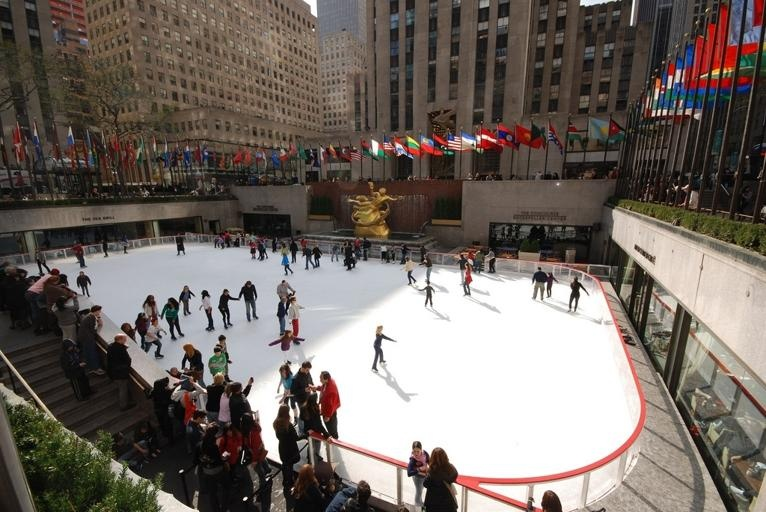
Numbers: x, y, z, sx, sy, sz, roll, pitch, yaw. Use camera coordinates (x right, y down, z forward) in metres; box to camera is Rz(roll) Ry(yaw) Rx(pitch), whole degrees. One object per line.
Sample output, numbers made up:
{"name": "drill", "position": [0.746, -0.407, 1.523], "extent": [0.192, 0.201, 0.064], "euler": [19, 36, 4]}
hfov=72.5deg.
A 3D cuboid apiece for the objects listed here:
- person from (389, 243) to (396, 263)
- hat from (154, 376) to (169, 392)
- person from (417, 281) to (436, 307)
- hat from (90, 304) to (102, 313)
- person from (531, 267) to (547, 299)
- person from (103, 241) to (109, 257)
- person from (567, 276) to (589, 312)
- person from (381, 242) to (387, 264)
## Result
{"name": "person", "position": [0.597, -0.199, 39.019], "extent": [0.608, 1.146, 1.464], "euler": [-2, 13, 2]}
{"name": "hat", "position": [-9.442, 5.398, 22.233], "extent": [0.422, 0.573, 0.567], "euler": [17, 24, 15]}
{"name": "person", "position": [2.535, 2.304, 31.121], "extent": [1.302, 2.053, 0.638], "euler": [2, 48, 8]}
{"name": "hat", "position": [-13.309, 2.423, 24.109], "extent": [0.364, 0.312, 0.520], "euler": [-8, 14, -22]}
{"name": "person", "position": [9.311, 1.615, 30.949], "extent": [0.817, 1.920, 1.201], "euler": [2, 14, 17]}
{"name": "person", "position": [-21.687, -0.618, 40.667], "extent": [0.372, 1.156, 1.892], "euler": [-9, 15, -27]}
{"name": "person", "position": [11.343, 2.255, 30.311], "extent": [0.582, 1.889, 1.362], "euler": [-26, 36, -37]}
{"name": "person", "position": [0.078, -0.189, 38.808], "extent": [0.481, 1.246, 0.652], "euler": [-2, 13, -1]}
